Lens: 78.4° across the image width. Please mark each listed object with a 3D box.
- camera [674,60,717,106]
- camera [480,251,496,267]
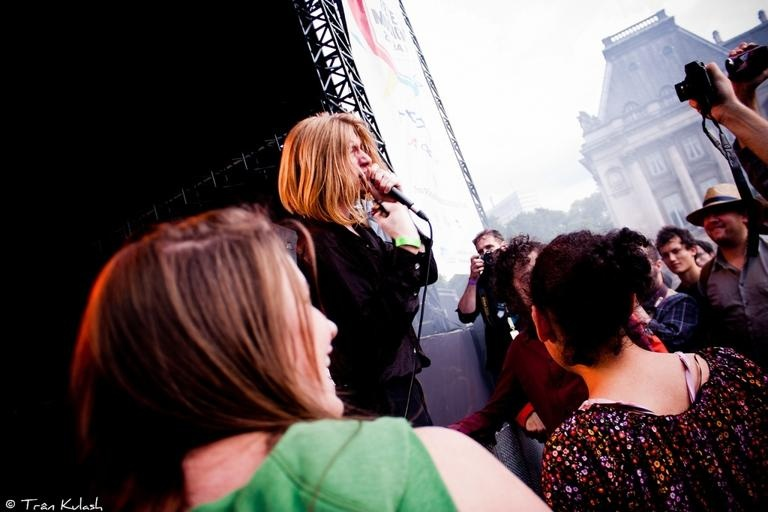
[{"bbox_3d":[1.828,-0.947,2.793,0.184,0.181,0.196,-7,0,25],"label":"camera"},{"bbox_3d":[0.854,0.031,3.834,0.075,0.090,0.099,12,-27,11],"label":"camera"}]
